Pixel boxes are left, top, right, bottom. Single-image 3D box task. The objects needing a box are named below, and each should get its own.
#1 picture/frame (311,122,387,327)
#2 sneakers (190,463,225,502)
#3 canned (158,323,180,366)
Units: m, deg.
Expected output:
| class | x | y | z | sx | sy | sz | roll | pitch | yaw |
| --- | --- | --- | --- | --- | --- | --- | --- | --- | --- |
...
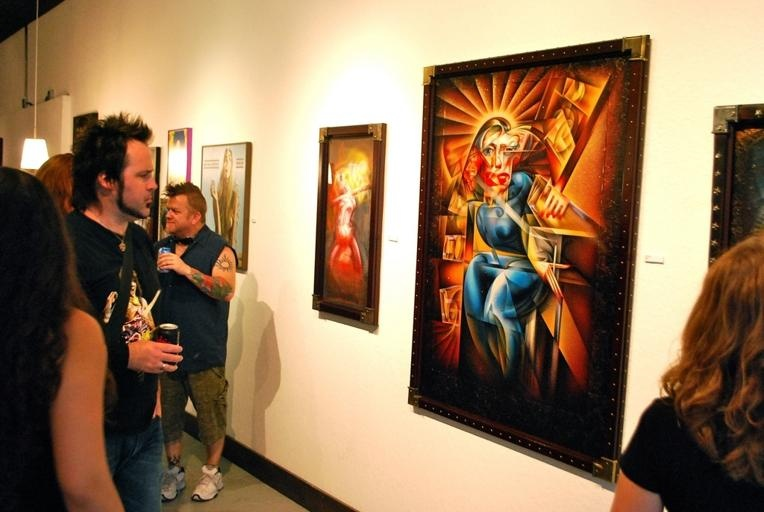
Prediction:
| class | x | y | z | sx | sy | sz | roll | pitch | yaw |
| --- | --- | --- | --- | --- | --- | --- | --- | --- | --- |
| picture/frame | -0.230 | -0.218 | 3.808 | 0.648 | 1.377 | 0.122 | 8 | 8 | 44 |
| sneakers | -1.338 | 1.775 | 4.286 | 0.122 | 0.156 | 0.326 | 0 | -9 | 10 |
| canned | -1.130 | 0.448 | 2.863 | 0.109 | 0.213 | 0.115 | 2 | 12 | -2 |
